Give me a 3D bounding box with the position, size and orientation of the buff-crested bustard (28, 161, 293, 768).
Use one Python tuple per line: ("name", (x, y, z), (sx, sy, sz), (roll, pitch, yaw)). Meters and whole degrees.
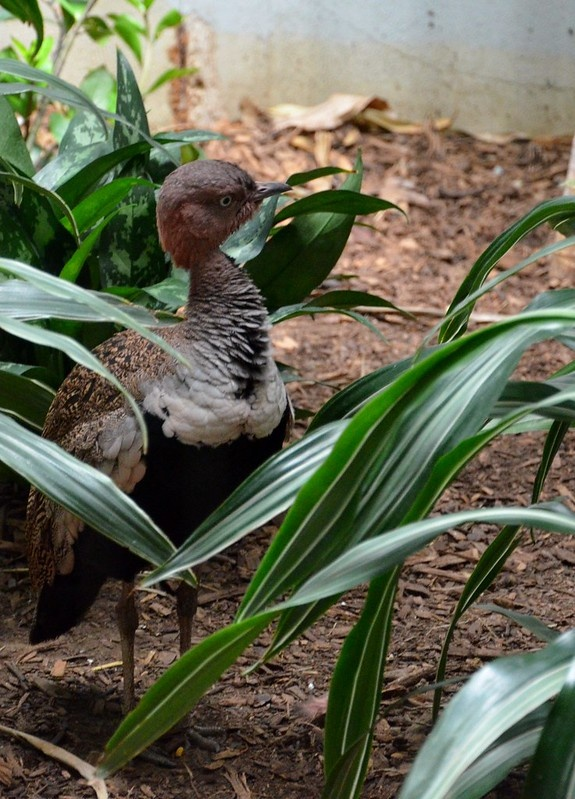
("buff-crested bustard", (-0.296, 0.137, 2.267), (0.836, 1.341, 0.498), (15, 30, 16))
